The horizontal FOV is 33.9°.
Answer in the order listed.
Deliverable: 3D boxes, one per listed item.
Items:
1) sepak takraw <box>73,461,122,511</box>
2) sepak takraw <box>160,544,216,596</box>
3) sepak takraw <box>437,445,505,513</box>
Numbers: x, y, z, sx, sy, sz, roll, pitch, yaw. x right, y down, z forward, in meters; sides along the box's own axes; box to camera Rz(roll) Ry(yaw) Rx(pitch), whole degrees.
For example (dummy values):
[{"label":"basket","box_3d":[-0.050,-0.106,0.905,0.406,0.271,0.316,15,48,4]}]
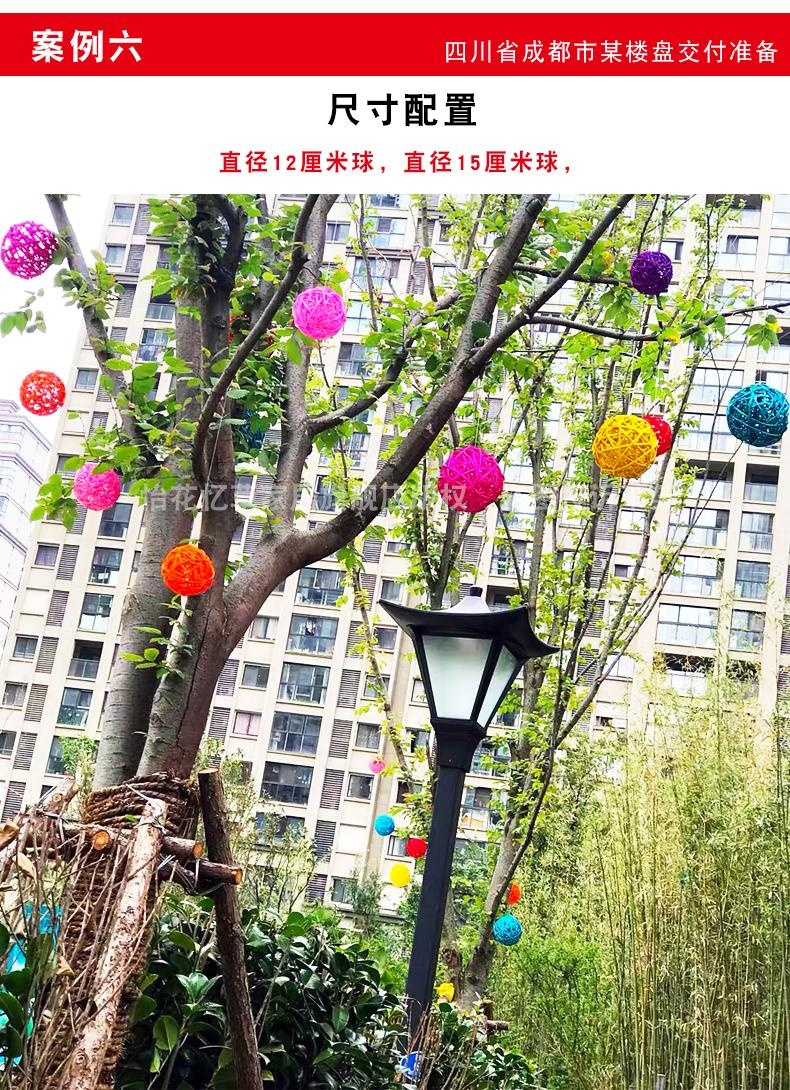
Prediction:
[{"label":"sepak takraw","box_3d":[-0.900,-0.178,3.957,0.155,0.155,0.171,-3,-5,18]},{"label":"sepak takraw","box_3d":[-0.536,0.066,3.448,0.145,0.132,0.141,-4,-15,-6]},{"label":"sepak takraw","box_3d":[0.242,-0.204,4.111,0.222,0.200,0.210,6,15,13]}]
